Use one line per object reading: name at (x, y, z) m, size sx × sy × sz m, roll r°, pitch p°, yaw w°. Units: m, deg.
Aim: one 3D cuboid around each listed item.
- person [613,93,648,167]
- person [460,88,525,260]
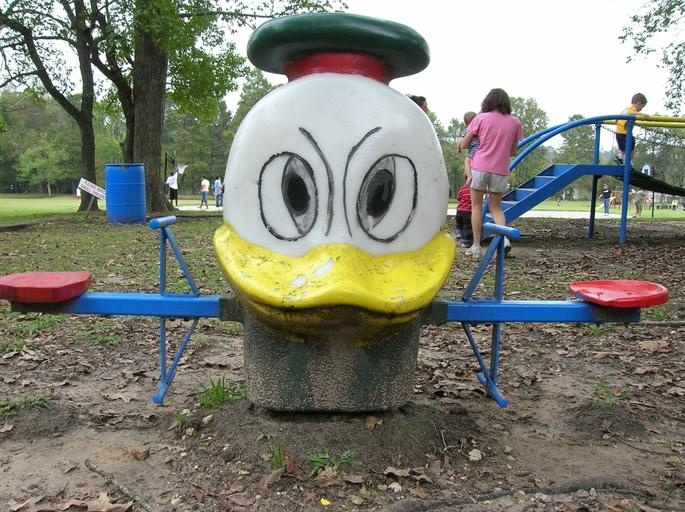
person at (4.758, -2.098, 10.773) m, size 0.416 × 1.173 × 2.266 m, roll 6°, pitch 15°, yaw 22°
person at (1.612, -0.835, 7.179) m, size 0.701 × 1.969 × 0.999 m, roll 2°, pitch 15°, yaw 10°
